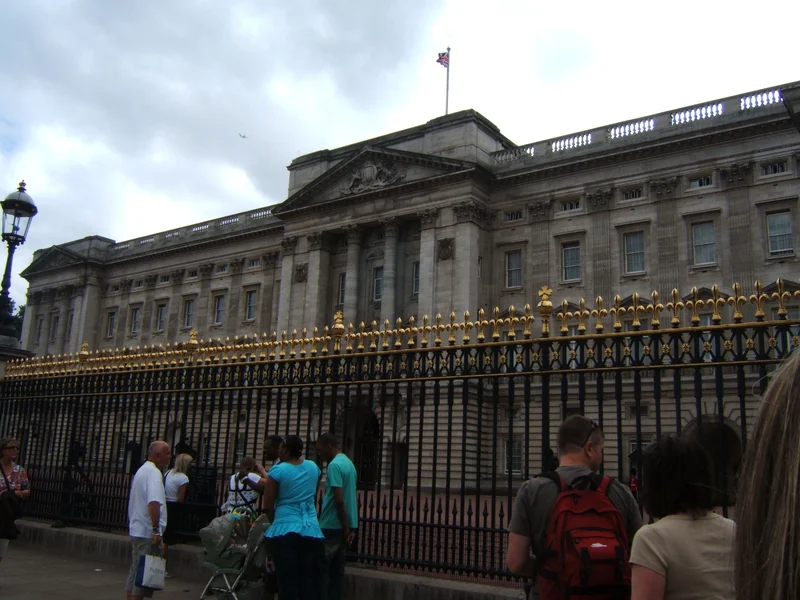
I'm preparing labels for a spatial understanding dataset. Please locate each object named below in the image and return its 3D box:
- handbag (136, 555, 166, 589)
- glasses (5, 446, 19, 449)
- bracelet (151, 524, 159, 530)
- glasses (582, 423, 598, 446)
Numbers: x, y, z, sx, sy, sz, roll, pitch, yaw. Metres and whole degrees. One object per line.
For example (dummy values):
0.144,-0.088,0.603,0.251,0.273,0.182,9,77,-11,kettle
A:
-2.691,2.923,8.339,0.263,0.335,0.127,25,-45,-30,handbag
-4.980,1.891,9.938,0.076,0.026,0.068,-27,-24,34,glasses
-2.682,2.504,8.496,0.105,0.067,0.042,-8,-17,34,bracelet
1.434,1.036,5.918,0.122,0.167,0.164,-3,-35,6,glasses
